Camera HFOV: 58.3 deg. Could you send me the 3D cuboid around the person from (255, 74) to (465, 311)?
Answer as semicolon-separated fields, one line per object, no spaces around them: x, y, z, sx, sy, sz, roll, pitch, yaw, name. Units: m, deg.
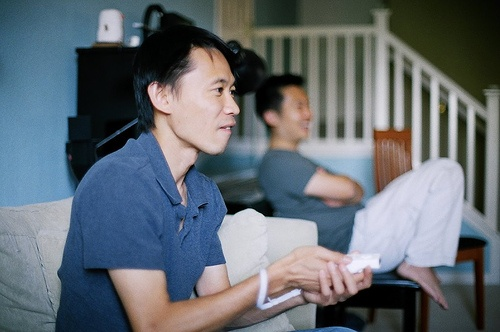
0.541;0.105;2.277;0.940;1.197;0.567;-11;-5;11;person
